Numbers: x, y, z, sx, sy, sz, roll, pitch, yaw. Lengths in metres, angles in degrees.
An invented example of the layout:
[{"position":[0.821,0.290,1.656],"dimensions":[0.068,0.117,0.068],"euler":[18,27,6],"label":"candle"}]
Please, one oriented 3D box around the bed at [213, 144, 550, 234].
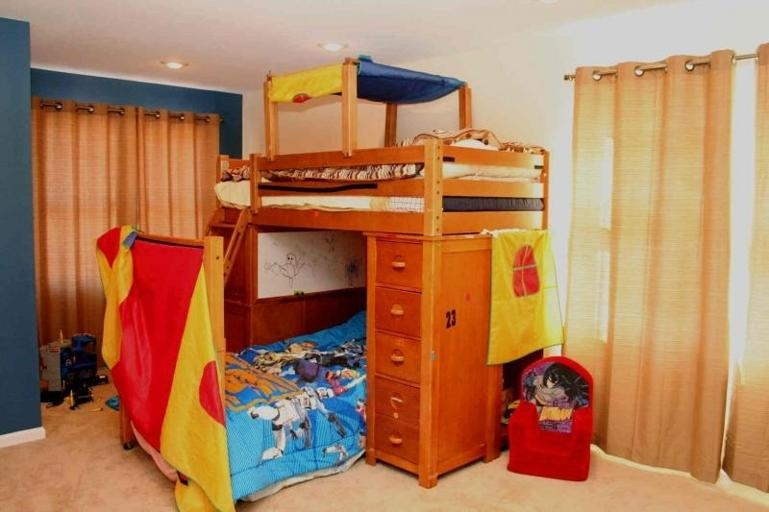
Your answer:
[{"position":[0.027,-0.482,4.502],"dimensions":[2.045,0.596,0.926],"euler":[1,6,17],"label":"bed"}]
